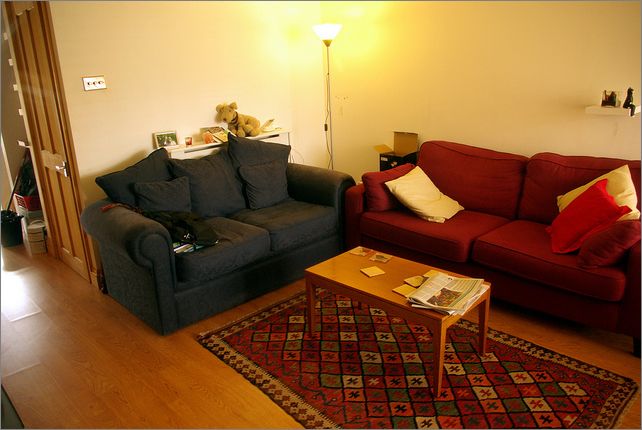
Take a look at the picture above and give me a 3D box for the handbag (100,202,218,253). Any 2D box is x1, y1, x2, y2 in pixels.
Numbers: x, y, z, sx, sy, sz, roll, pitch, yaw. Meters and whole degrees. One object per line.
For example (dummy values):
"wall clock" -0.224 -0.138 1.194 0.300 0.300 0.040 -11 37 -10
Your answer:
"handbag" -1.208 0.145 3.729 0.581 0.200 0.589 19 13 37

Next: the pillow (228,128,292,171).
"pillow" -0.665 -0.668 4.801 0.557 0.325 0.157 -5 -16 -35

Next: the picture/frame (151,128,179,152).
"picture/frame" -1.565 -0.731 4.556 0.022 0.188 0.292 -4 5 45

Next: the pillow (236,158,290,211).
"pillow" -0.567 -0.308 4.650 0.519 0.452 0.149 -15 8 -35

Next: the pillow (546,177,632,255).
"pillow" 2.075 0.041 3.529 0.483 0.440 0.404 5 24 23

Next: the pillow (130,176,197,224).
"pillow" -1.402 -0.126 4.010 0.402 0.286 0.136 -16 14 -38

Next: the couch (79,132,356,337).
"couch" -0.901 0.036 4.446 1.203 1.154 2.350 20 27 38
